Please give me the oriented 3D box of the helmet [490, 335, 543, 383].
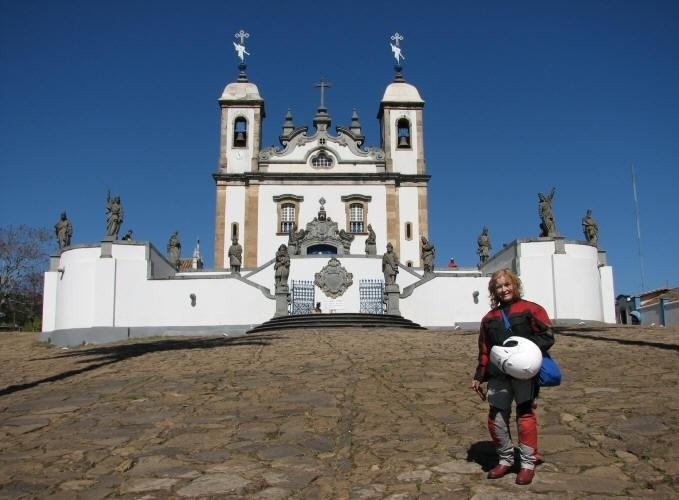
[{"bbox_3d":[1.700,1.047,6.180,0.383,0.352,0.460,-2,26,-26],"label":"helmet"}]
